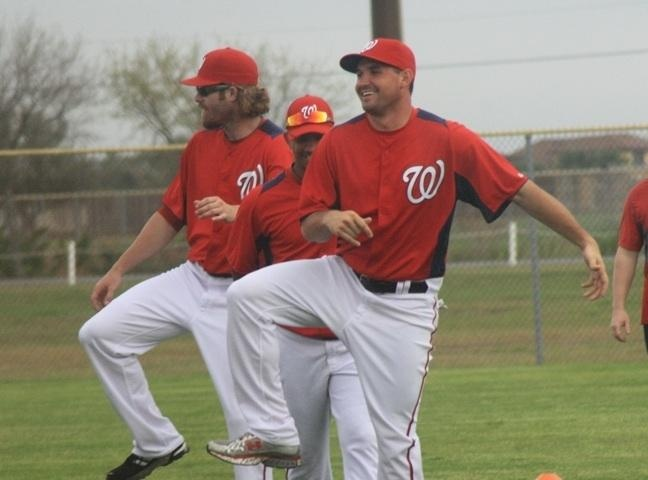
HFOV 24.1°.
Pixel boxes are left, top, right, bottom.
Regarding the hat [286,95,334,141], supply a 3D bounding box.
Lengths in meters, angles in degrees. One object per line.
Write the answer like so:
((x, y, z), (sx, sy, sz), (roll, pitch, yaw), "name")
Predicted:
((-0.118, -1.010, 12.831), (0.306, 0.235, 0.423), (-1, 7, -1), "hat")

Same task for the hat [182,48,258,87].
((-0.833, -1.477, 13.326), (0.870, 0.419, 0.544), (0, 8, -3), "hat")

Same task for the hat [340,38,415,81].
((0.441, -1.458, 12.367), (0.598, 0.320, 0.290), (-3, 9, -7), "hat")
